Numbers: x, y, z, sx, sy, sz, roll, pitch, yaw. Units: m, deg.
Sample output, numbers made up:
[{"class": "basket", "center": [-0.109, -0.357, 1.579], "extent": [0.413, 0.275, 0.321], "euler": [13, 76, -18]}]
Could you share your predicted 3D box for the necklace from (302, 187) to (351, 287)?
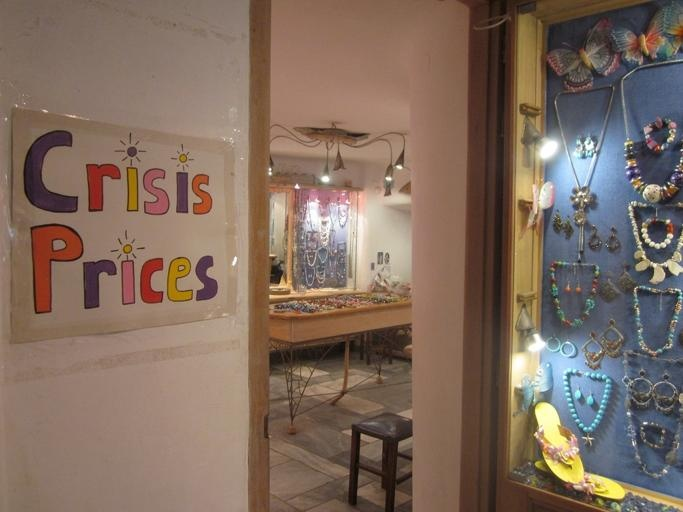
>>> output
[{"class": "necklace", "center": [-0.277, -0.258, 8.362], "extent": [0.873, 1.434, 0.223], "euler": [0, 4, -39]}]

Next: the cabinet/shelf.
[{"class": "cabinet/shelf", "center": [-0.289, 0.741, 5.663], "extent": [0.561, 0.469, 1.231], "euler": [5, 4, 39]}]

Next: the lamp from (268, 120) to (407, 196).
[{"class": "lamp", "center": [-0.066, -1.270, 6.809], "extent": [1.799, 0.779, 1.677], "euler": [-8, 18, -40]}]
